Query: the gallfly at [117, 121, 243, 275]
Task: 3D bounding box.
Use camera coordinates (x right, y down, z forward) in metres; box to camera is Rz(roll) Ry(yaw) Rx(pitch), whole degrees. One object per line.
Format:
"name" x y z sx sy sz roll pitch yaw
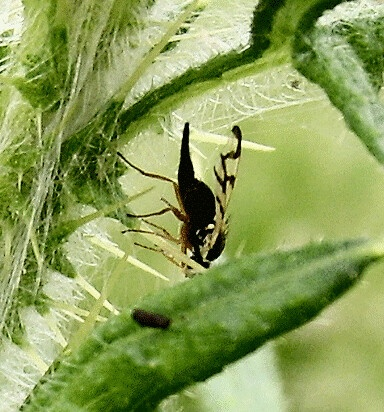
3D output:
"gallfly" -0.019 -0.013 1.506 0.236 0.232 0.073 10 39 -22
